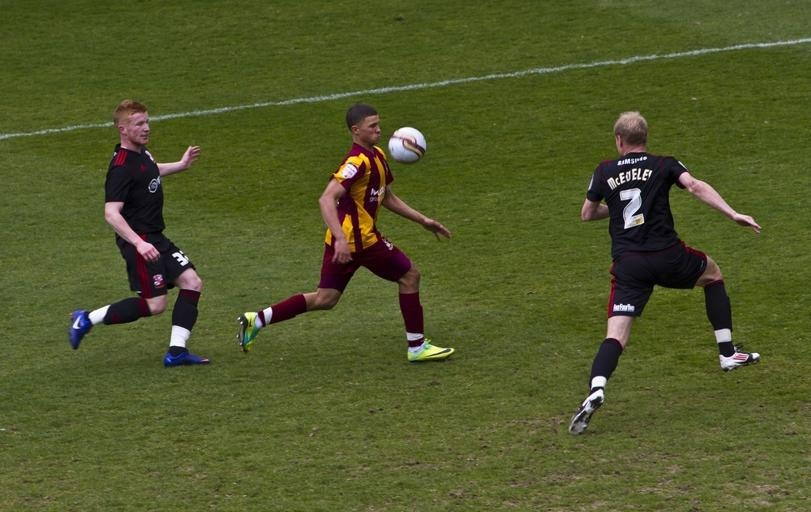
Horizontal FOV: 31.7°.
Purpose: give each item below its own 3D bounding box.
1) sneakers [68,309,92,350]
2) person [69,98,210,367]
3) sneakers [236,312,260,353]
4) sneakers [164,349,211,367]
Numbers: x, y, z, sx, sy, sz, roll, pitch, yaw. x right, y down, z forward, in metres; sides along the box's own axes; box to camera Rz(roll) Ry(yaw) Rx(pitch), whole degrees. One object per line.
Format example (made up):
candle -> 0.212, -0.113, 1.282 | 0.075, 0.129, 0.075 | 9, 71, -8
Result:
sneakers -> -3.452, 0.776, 15.164 | 0.279, 0.417, 0.186 | 16, 5, 7
person -> -2.746, -0.209, 15.026 | 1.318, 2.727, 1.046 | 0, 24, 7
sneakers -> -1.628, 0.822, 15.129 | 0.326, 0.413, 0.180 | 8, 17, -5
sneakers -> -2.344, 1.095, 15.181 | 0.558, 0.154, 0.166 | -1, 6, -13
